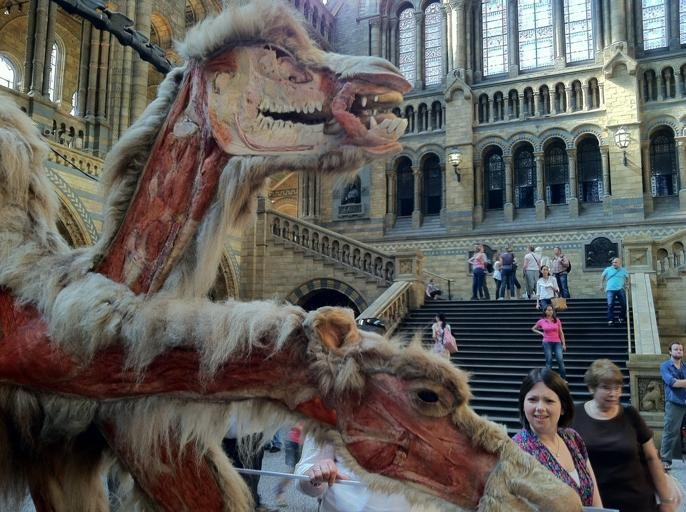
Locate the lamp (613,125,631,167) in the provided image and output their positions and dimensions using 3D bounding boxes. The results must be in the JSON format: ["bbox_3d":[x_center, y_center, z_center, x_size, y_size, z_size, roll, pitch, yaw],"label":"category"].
[{"bbox_3d":[7.444,-2.892,24.946,0.454,1.065,0.456,-11,30,-3],"label":"lamp"}]

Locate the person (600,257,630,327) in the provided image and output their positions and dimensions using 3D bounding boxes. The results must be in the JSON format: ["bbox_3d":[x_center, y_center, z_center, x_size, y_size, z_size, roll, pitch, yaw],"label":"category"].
[{"bbox_3d":[4.607,0.584,16.032,0.385,1.266,1.225,0,-8,16],"label":"person"}]

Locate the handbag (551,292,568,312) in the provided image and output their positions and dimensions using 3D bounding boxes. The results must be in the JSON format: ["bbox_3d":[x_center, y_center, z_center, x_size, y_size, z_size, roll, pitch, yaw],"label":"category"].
[{"bbox_3d":[3.707,0.804,16.291,0.350,0.361,0.141,0,10,8],"label":"handbag"}]

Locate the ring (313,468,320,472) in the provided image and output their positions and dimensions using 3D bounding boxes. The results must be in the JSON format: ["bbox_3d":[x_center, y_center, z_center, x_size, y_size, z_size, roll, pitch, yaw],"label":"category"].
[{"bbox_3d":[-0.125,1.032,4.521,0.018,0.019,0.007,20,-4,14],"label":"ring"}]

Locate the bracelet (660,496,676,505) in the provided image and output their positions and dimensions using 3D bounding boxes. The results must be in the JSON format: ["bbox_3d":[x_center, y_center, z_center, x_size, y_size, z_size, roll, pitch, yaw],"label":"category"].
[{"bbox_3d":[2.062,1.556,5.973,0.109,0.048,0.052,2,-8,2],"label":"bracelet"}]

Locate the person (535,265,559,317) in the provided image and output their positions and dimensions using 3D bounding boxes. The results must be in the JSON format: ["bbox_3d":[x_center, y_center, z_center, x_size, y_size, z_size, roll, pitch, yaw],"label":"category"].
[{"bbox_3d":[3.515,0.734,16.275,0.379,1.115,0.297,-4,12,15],"label":"person"}]
